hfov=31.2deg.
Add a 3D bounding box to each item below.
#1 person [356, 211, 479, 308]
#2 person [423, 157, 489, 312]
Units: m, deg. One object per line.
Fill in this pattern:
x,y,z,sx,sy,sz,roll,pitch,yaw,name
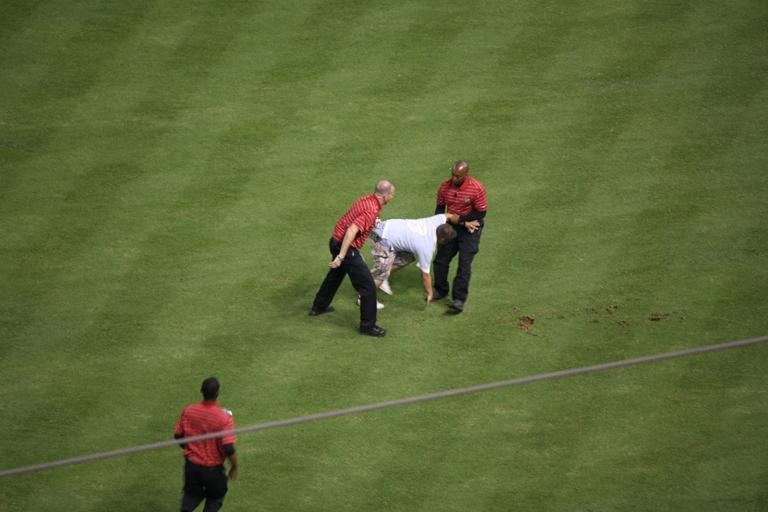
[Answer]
0.535,0.079,21.808,1.324,1.325,0.557,20,50,-13,person
1.116,-0.338,21.912,1.295,2.269,1.122,-1,12,-24,person
